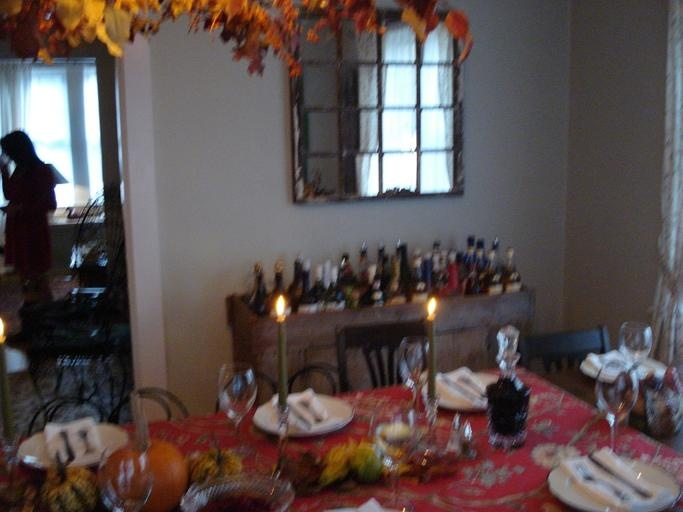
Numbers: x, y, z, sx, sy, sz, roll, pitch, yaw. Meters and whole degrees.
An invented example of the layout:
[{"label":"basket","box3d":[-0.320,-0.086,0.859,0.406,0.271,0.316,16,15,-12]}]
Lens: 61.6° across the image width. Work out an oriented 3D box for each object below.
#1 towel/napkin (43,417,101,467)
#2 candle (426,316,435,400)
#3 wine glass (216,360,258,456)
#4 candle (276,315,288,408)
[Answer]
[{"label":"towel/napkin","box3d":[-0.761,0.528,1.624,0.112,0.039,0.122,-5,49,-16]},{"label":"candle","box3d":[0.229,0.265,1.474,0.021,0.203,0.060,-2,7,9]},{"label":"wine glass","box3d":[-0.295,0.424,1.653,0.104,0.265,0.248,-5,8,-11]},{"label":"candle","box3d":[-0.142,0.261,1.376,0.017,0.201,0.019,0,7,1]}]
